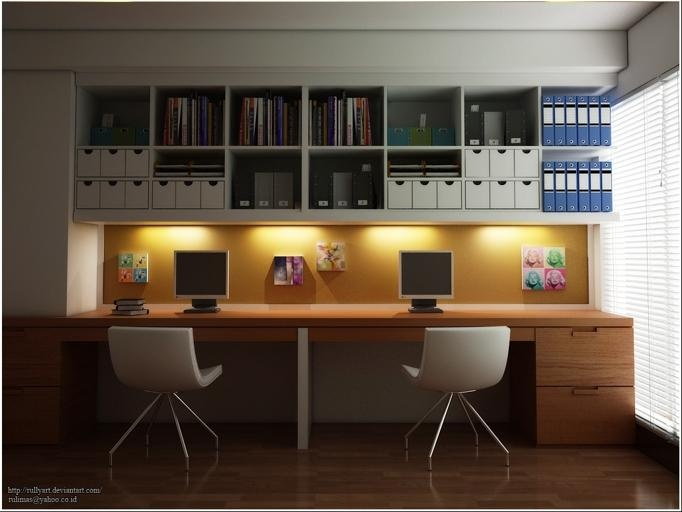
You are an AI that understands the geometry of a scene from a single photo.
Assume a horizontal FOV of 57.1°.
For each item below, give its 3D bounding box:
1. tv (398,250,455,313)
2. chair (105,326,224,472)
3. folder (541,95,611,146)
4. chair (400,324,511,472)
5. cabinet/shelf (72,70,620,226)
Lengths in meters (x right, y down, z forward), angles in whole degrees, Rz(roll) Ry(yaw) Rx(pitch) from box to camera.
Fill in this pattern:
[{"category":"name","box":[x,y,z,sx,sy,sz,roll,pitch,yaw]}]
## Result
[{"category":"tv","box":[0.732,0.205,5.375,0.481,0.544,0.191,1,-6,-2]},{"category":"chair","box":[-1.368,1.013,4.863,0.793,1.090,0.686,1,13,6]},{"category":"folder","box":[1.952,-1.108,5.278,0.687,0.510,0.374,0,-1,-1]},{"category":"chair","box":[0.898,0.987,4.658,0.884,1.270,1.023,1,-6,-6]},{"category":"cabinet/shelf","box":[-0.176,-0.855,5.407,4.010,1.194,0.609,0,12,0]}]
